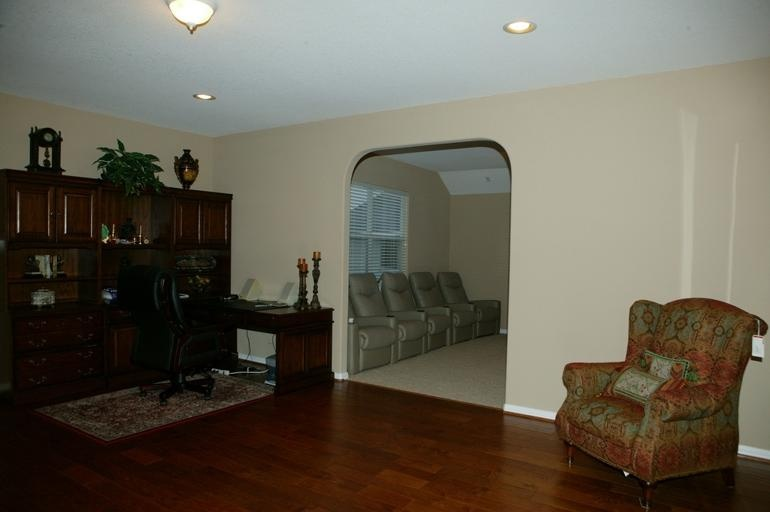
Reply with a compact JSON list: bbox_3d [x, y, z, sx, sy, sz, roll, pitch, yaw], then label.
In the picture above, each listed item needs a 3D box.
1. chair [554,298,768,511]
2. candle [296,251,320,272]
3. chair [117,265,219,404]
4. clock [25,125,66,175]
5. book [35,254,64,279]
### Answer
[{"bbox_3d":[2.432,1.166,5.166,1.855,1.817,1.620,1,-2,-28],"label":"chair"},{"bbox_3d":[-0.952,0.053,6.828,0.295,0.263,0.412,0,10,-5],"label":"candle"},{"bbox_3d":[-2.342,0.832,5.753,1.037,1.524,0.497,3,10,12],"label":"chair"},{"bbox_3d":[-3.938,-1.240,6.216,0.353,0.540,0.529,-4,11,-27],"label":"clock"},{"bbox_3d":[-3.920,0.101,6.280,0.255,0.255,0.456,0,10,-9],"label":"book"}]
